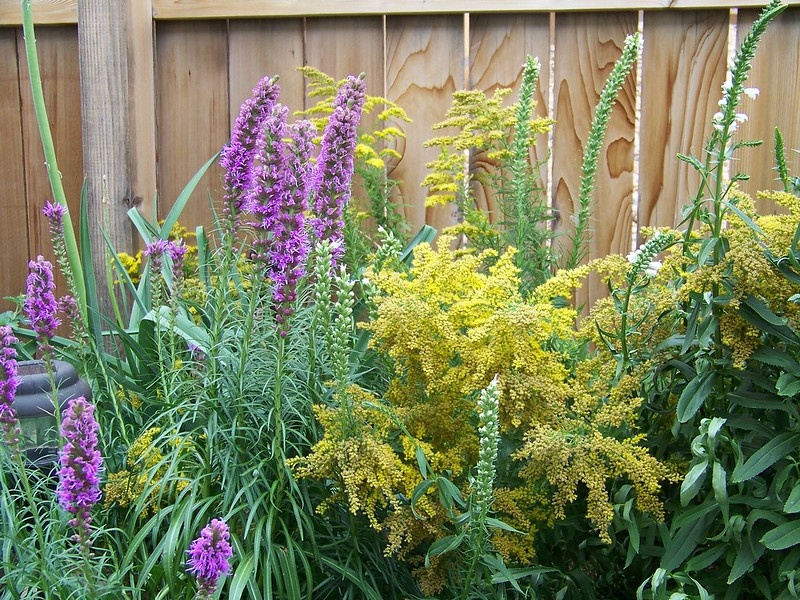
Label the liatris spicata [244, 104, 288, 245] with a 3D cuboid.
[{"bbox_3d":[-0.312,-0.292,1.855,0.090,0.326,0.087,0,12,-11],"label":"liatris spicata"}]

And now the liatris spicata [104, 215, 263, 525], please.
[{"bbox_3d":[-0.550,0.170,2.082,0.278,0.733,0.294,15,-21,-13],"label":"liatris spicata"}]

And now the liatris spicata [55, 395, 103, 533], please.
[{"bbox_3d":[-0.637,0.320,1.565,0.081,0.297,0.111,-3,13,-24],"label":"liatris spicata"}]
